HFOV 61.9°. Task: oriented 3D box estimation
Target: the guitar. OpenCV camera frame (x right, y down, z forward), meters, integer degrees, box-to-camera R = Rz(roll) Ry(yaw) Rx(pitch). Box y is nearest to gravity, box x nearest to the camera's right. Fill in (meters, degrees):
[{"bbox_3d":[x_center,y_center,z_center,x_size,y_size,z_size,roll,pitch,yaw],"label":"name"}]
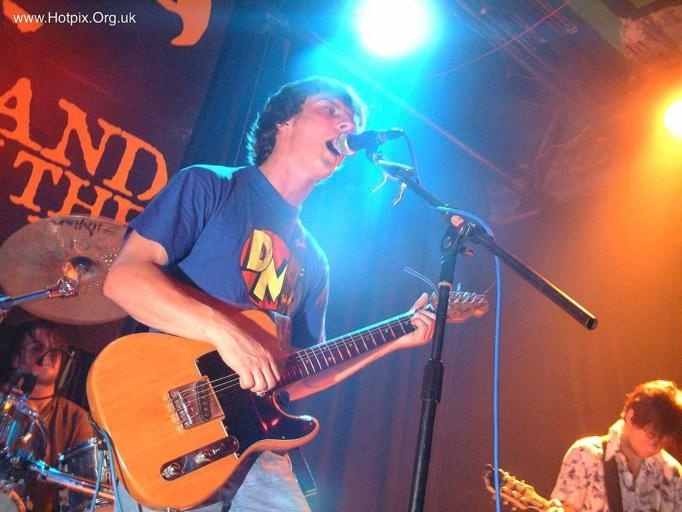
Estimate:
[{"bbox_3d":[-0.433,0.654,3.325,2.202,0.966,0.262,-20,5,-33],"label":"guitar"}]
